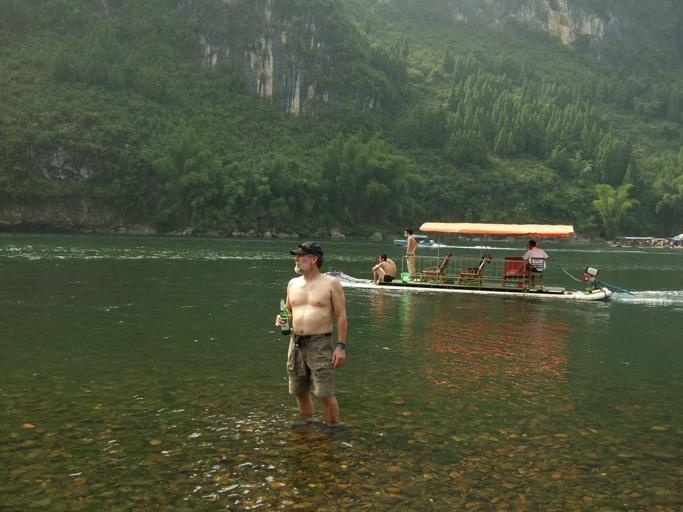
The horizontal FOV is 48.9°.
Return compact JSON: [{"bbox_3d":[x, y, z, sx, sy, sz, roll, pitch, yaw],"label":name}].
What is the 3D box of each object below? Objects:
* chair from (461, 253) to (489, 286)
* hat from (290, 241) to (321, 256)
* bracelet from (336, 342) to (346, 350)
[{"bbox_3d":[7.684,0.782,42.820,1.133,0.836,2.222,4,20,19],"label":"chair"},{"bbox_3d":[-0.817,-0.144,18.735,0.540,0.274,0.391,3,-3,-12],"label":"hat"},{"bbox_3d":[-0.033,2.279,18.692,0.174,0.225,0.356,1,6,-4],"label":"bracelet"}]
